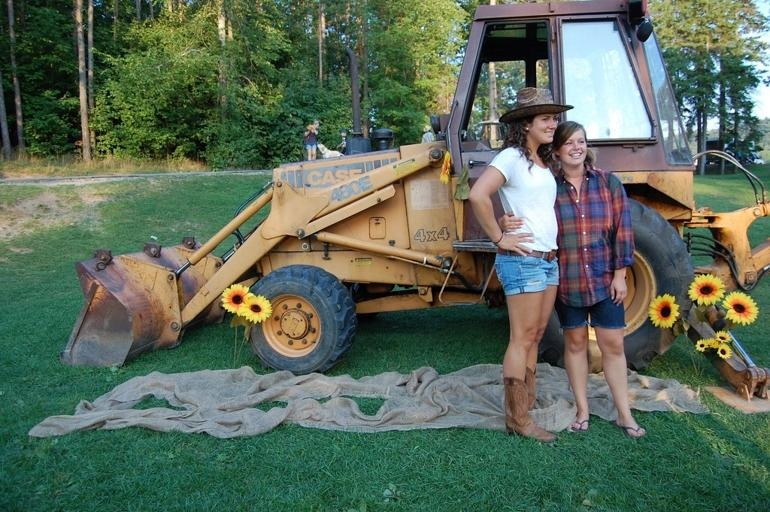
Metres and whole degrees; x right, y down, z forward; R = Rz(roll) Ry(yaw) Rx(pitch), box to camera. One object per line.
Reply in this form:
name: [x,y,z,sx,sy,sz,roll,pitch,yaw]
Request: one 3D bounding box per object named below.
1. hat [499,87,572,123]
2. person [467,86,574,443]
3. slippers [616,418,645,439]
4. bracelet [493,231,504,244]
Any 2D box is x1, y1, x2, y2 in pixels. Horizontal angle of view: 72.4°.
hat: [1.204,-1.247,4.356,0.406,0.177,0.380,-16,7,0]
person: [1.128,0.065,4.491,0.701,2.912,0.635,3,11,18]
slippers: [2.093,1.484,4.503,0.095,0.049,0.164,-11,5,-30]
bracelet: [0.919,-0.146,4.293,0.074,0.035,0.091,-16,46,39]
